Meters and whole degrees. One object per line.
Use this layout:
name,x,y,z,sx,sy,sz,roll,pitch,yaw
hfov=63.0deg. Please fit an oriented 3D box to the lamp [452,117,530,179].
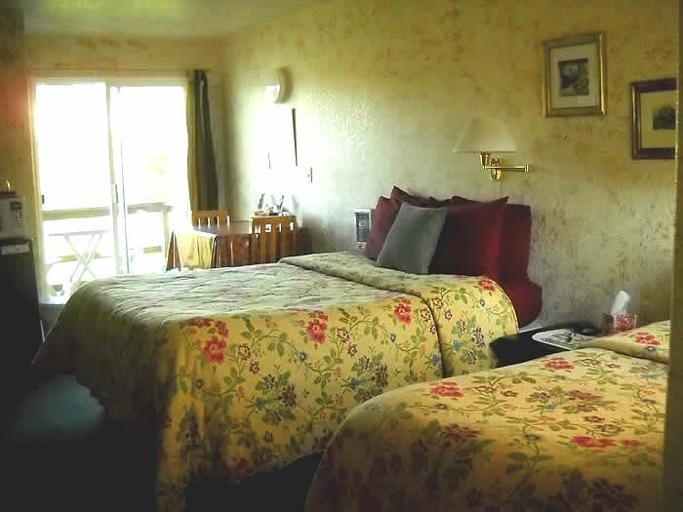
lamp,0.862,-0.649,3.372,0.398,0.346,0.368,-7,13,-33

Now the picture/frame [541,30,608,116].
picture/frame,1.268,-0.999,3.001,0.040,0.538,0.483,-6,9,-35

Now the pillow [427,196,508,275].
pillow,0.755,-0.118,3.272,0.448,0.438,0.135,2,-13,45

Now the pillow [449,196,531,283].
pillow,0.911,-0.076,3.312,0.152,0.383,0.375,3,0,-20

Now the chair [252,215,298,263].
chair,-0.591,-0.160,4.789,0.254,0.397,0.396,1,8,9

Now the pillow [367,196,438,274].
pillow,0.413,-0.121,3.378,0.131,0.386,0.408,23,-5,-34

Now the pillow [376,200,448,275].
pillow,0.441,-0.128,3.392,0.136,0.397,0.421,24,-6,-34

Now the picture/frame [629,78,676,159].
picture/frame,1.529,-0.669,2.713,0.081,0.385,0.278,-6,13,-18
